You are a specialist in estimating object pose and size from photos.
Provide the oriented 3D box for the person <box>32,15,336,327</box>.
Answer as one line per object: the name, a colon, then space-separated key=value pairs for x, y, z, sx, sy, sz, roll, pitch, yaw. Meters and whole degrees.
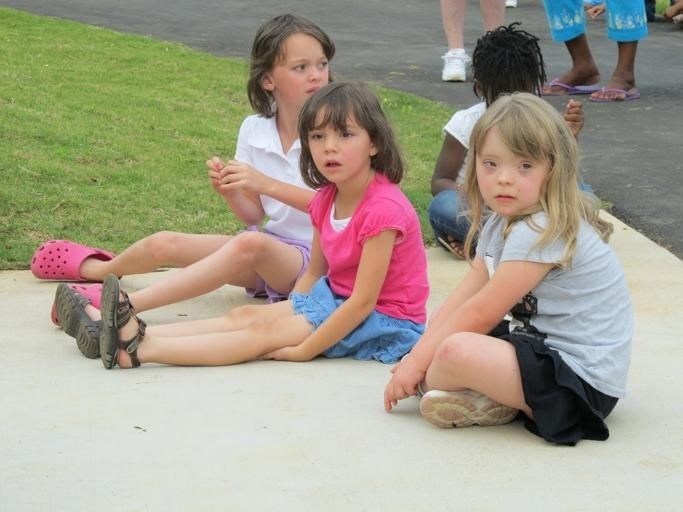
person: x=-0.654 y=-0.398 z=3.563 sx=1.501 sy=1.210 sz=0.878 roll=-8 pitch=23 yaw=-20

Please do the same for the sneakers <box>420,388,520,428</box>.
sneakers: x=0.423 y=0.491 z=2.611 sx=0.257 sy=0.089 sz=0.144 roll=2 pitch=-5 yaw=-12

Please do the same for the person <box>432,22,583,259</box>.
person: x=0.871 y=-0.592 z=4.263 sx=0.957 sy=1.154 sz=0.774 roll=-10 pitch=23 yaw=-7

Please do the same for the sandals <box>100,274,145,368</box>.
sandals: x=-0.833 y=0.248 z=3.008 sx=0.172 sy=0.352 sz=0.136 roll=3 pitch=7 yaw=-16

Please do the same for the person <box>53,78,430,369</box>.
person: x=-0.345 y=-0.127 z=3.094 sx=1.524 sy=1.018 sz=0.722 roll=-3 pitch=11 yaw=-35

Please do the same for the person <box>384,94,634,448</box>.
person: x=0.606 y=0.001 z=2.873 sx=0.902 sy=1.104 sz=0.866 roll=-3 pitch=13 yaw=-14

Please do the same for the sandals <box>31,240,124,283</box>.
sandals: x=-1.322 y=0.030 z=3.984 sx=0.443 sy=0.179 sz=0.139 roll=8 pitch=6 yaw=6
